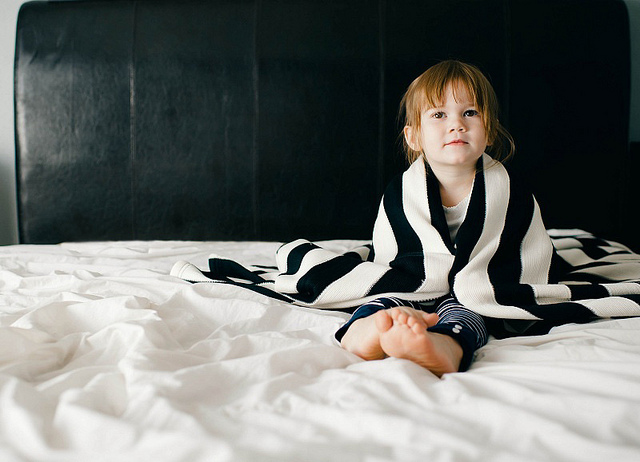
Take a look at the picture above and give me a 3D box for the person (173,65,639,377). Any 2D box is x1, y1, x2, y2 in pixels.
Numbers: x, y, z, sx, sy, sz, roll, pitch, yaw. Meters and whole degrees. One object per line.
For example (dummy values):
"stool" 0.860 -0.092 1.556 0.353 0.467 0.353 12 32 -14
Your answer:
"person" 0.269 0.039 1.359 0.845 0.394 0.762 0 6 4
